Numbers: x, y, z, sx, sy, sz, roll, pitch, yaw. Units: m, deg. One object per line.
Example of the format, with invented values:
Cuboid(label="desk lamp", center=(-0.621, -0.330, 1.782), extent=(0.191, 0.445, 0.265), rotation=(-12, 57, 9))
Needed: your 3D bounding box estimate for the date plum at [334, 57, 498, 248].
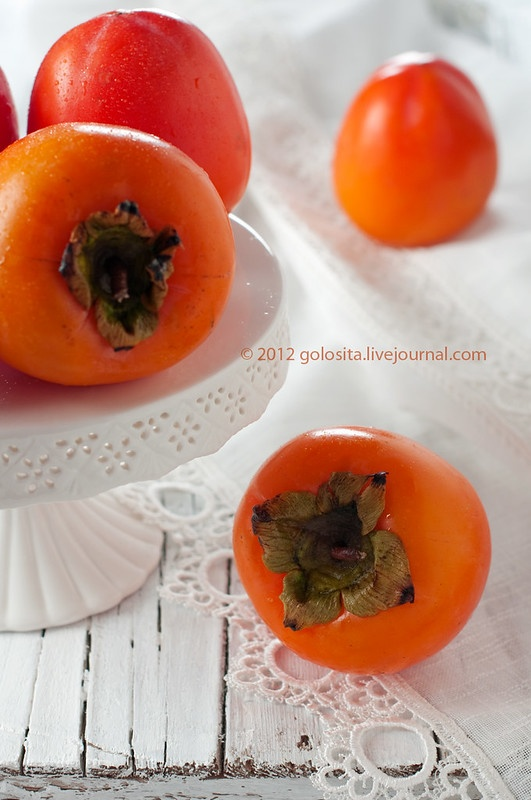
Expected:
Cuboid(label="date plum", center=(0.127, -0.210, 0.673), extent=(0.119, 0.121, 0.138), rotation=(-24, 54, -9))
